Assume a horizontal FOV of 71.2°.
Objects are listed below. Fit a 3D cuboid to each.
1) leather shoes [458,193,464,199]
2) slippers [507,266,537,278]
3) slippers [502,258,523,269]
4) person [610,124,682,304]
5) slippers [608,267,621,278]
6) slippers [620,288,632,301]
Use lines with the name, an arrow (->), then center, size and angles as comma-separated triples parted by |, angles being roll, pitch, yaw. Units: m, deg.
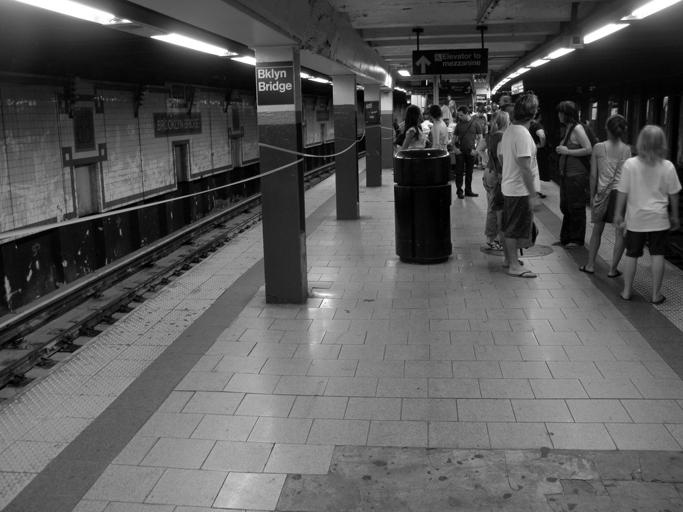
leather shoes -> 3.376, -1.714, 13.462 | 0.155, 0.187, 0.439 | -1, 3, 11
slippers -> 2.612, 0.226, 6.878 | 0.298, 0.123, 0.165 | -1, 5, 17
slippers -> 2.594, 0.107, 7.194 | 0.128, 0.146, 0.359 | -10, 3, -25
person -> 3.547, -0.468, 5.536 | 0.621, 2.033, 0.313 | 4, 14, 30
slippers -> 3.818, 0.230, 6.639 | 0.188, 0.123, 0.061 | -22, 23, -24
slippers -> 3.441, 0.476, 5.770 | 0.077, 0.156, 0.162 | 0, 9, 14
